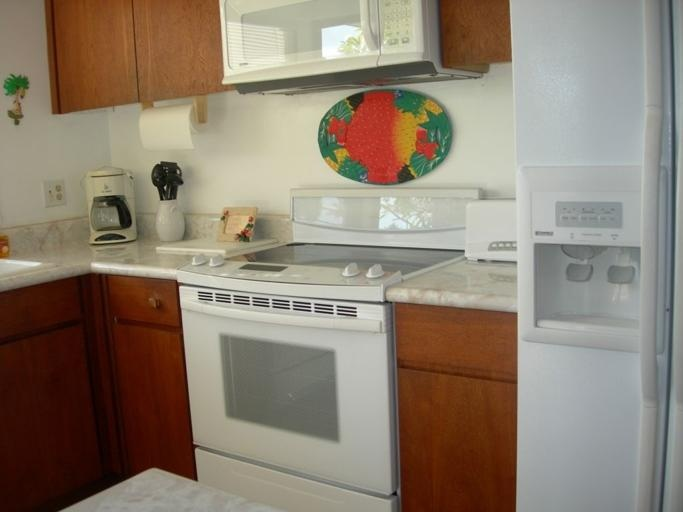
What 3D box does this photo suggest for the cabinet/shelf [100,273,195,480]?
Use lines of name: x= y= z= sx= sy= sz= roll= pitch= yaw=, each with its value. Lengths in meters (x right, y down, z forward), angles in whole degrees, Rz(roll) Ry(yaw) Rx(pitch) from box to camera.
cabinet/shelf: x=-0.753 y=0.476 z=2.361 sx=0.343 sy=0.807 sz=0.461 roll=2 pitch=10 yaw=25

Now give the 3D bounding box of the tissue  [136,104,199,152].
tissue : x=-0.824 y=-0.602 z=2.522 sx=0.254 sy=0.186 sz=0.096 roll=-2 pitch=17 yaw=26

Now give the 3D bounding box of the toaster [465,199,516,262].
toaster: x=0.510 y=-0.081 z=1.816 sx=0.165 sy=0.190 sz=0.059 roll=2 pitch=10 yaw=15
